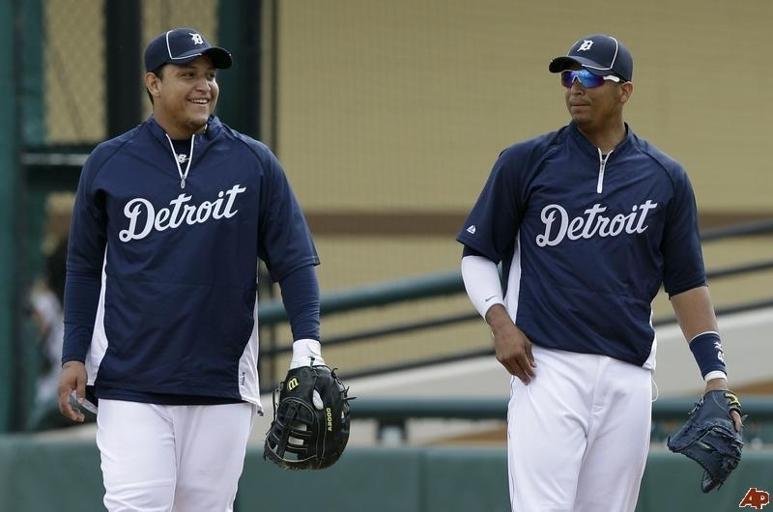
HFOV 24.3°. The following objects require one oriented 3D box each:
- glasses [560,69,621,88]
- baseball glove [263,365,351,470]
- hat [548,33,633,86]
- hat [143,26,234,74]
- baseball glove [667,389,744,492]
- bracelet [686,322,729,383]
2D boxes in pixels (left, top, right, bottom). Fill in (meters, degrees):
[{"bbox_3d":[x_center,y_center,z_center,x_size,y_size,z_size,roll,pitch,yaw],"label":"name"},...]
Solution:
[{"bbox_3d":[1.045,-0.921,9.426,0.147,0.050,0.155,19,2,-20],"label":"glasses"},{"bbox_3d":[-0.414,0.845,9.347,0.466,0.560,0.386,-3,9,-24],"label":"baseball glove"},{"bbox_3d":[1.118,-1.048,9.565,0.344,0.272,0.478,11,-5,39],"label":"hat"},{"bbox_3d":[-1.074,-1.082,9.432,0.431,0.250,0.314,-12,-3,35],"label":"hat"},{"bbox_3d":[1.706,0.917,9.541,0.368,0.244,0.511,-4,24,-24],"label":"baseball glove"},{"bbox_3d":[1.717,0.566,9.522,0.162,0.271,0.171,10,-27,-45],"label":"bracelet"}]
